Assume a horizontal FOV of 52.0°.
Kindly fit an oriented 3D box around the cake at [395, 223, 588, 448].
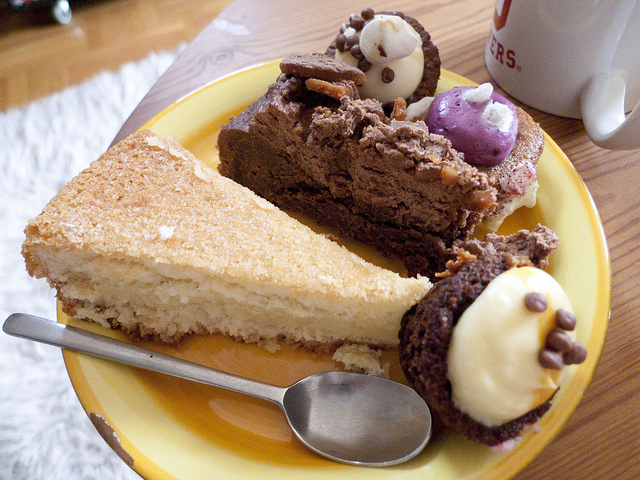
[{"bbox_3d":[0.448,0.275,1.717,0.426,0.178,0.561,-4,82,11],"label":"cake"}]
